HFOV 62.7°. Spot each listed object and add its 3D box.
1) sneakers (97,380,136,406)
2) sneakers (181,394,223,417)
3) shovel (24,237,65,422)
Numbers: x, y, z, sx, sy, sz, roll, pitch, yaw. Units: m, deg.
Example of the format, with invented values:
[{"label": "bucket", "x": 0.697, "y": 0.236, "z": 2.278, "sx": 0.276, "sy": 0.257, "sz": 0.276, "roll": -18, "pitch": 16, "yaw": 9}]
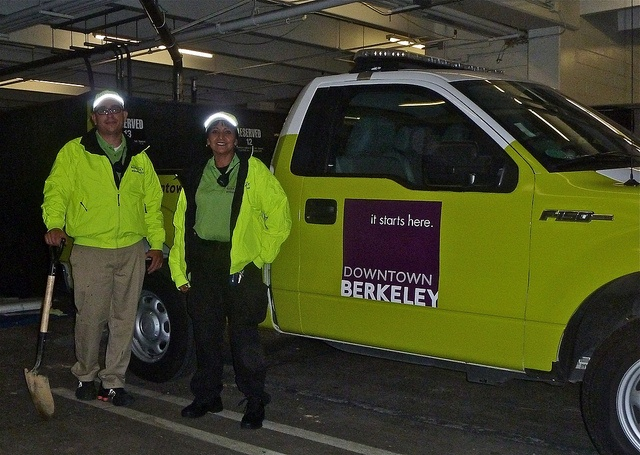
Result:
[{"label": "sneakers", "x": -1.704, "y": 1.398, "z": 4.433, "sx": 0.321, "sy": 0.131, "sz": 0.139, "roll": 5, "pitch": 4, "yaw": 24}, {"label": "sneakers", "x": -0.924, "y": 1.421, "z": 4.236, "sx": 0.368, "sy": 0.166, "sz": 0.131, "roll": 1, "pitch": 2, "yaw": -34}, {"label": "shovel", "x": -2.168, "y": 0.795, "z": 4.137, "sx": 0.283, "sy": 1.406, "sz": 0.565, "roll": -2, "pitch": 4, "yaw": -29}]
